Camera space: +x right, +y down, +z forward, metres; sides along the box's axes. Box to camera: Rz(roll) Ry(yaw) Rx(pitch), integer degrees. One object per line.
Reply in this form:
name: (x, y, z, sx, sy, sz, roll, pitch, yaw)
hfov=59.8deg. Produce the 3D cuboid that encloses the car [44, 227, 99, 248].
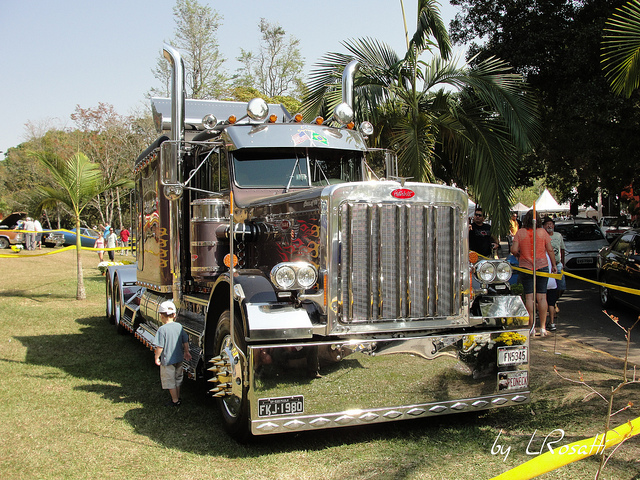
car: (-15.076, -0.068, 33.669, 1.994, 0.716, 1.371, -3, -1, 9)

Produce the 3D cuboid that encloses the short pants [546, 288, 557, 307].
short pants: (4.729, 1.163, 11.354, 0.178, 0.342, 0.249, 1, 4, 24)

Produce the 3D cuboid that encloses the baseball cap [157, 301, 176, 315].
baseball cap: (-2.087, 0.918, 7.579, 0.184, 0.163, 0.225, -2, 4, -25)

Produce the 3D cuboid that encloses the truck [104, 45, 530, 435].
truck: (-0.866, 0.107, 9.405, 3.275, 4.263, 7.812, 0, -1, -24)

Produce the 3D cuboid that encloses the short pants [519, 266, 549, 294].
short pants: (3.958, 0.763, 10.345, 0.508, 0.561, 0.428, 1, 4, 24)

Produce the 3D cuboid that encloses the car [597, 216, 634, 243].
car: (13.119, -0.487, 24.747, 1.151, 0.980, 2.713, -3, 6, 1)
